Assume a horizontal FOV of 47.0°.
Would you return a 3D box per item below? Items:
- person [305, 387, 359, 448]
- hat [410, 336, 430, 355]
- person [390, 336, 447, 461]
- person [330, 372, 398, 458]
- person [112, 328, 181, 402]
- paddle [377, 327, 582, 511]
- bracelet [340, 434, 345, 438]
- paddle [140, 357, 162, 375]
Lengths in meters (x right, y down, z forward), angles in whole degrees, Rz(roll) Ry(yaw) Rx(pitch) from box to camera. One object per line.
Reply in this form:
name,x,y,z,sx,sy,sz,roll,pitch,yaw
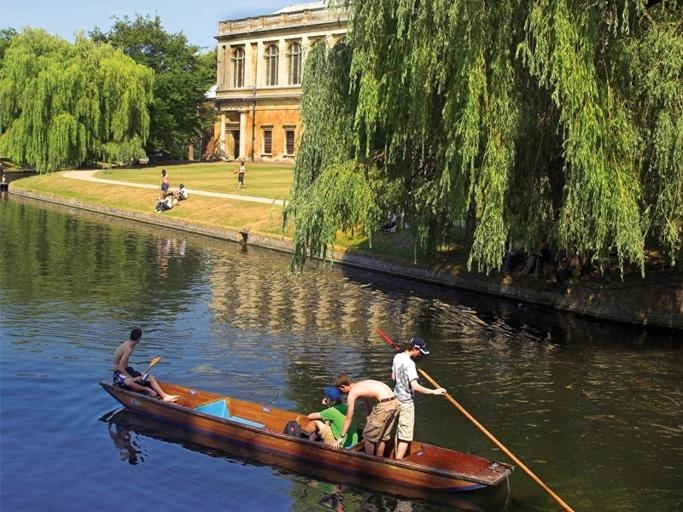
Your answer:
person,-0.183,3.333,15.814,0.580,1.211,0.976,-14,41,-35
hat,1.513,1.748,15.111,0.238,0.288,0.477,0,6,-28
person,1.337,2.805,15.266,0.900,2.435,0.488,6,6,39
person,0.485,3.239,15.616,1.166,1.955,1.164,-2,14,0
person,-4.394,2.557,17.655,1.617,1.379,0.906,17,9,-1
paddle,3.012,3.662,17.031,4.839,0.253,0.126,42,19,18
bracelet,-0.004,3.533,15.248,0.060,0.053,0.057,10,7,31
paddle,-4.635,2.708,19.011,0.052,0.670,0.093,32,10,-46
